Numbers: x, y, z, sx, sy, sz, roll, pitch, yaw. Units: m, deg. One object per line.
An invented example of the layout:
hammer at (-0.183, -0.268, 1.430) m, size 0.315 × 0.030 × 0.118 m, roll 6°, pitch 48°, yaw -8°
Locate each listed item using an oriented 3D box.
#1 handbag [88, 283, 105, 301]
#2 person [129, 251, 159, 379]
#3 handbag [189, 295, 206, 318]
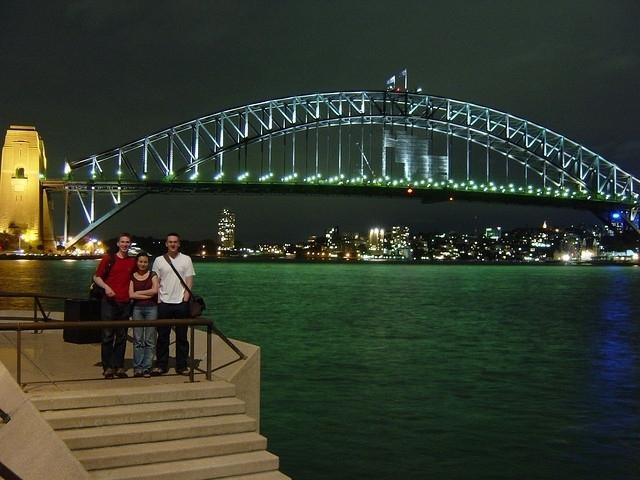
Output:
handbag at (-3.774, 0.851, 11.969) m, size 0.217 × 0.273 × 0.347 m, roll 3°, pitch -2°, yaw -19°
person at (-2.965, 1.258, 11.881) m, size 0.499 × 2.088 × 0.769 m, roll 3°, pitch -2°, yaw -15°
handbag at (-2.061, 1.117, 11.805) m, size 0.244 × 0.355 × 0.354 m, roll 2°, pitch -2°, yaw -10°
